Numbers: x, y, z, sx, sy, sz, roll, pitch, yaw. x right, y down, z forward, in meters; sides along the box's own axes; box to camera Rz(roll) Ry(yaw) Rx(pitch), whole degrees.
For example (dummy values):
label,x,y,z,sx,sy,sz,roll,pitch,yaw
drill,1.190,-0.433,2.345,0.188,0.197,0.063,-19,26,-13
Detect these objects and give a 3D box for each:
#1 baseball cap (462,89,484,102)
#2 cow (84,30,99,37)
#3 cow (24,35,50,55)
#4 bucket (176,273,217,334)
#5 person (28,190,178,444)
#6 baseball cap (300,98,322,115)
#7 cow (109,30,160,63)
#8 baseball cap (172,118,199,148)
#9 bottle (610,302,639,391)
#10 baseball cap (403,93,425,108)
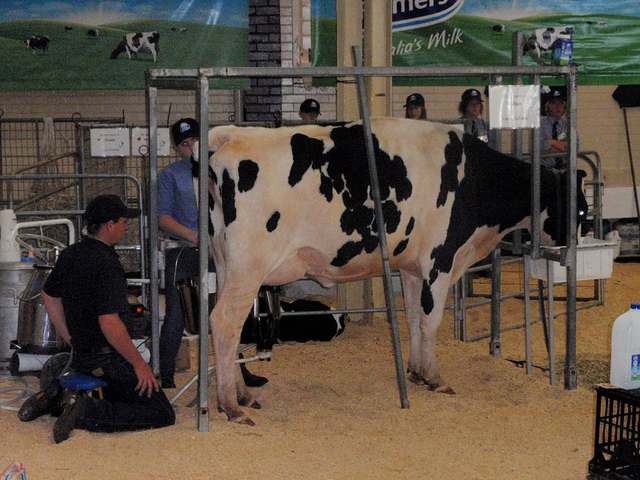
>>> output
label,x,y,z,sx,sy,sz,roll,pitch,yaw
baseball cap,2.245,-2.114,15.556,0.230,0.140,0.174,-2,6,29
cow,-4.015,-3.613,18.582,0.241,0.144,0.090,6,15,5
cow,-4.923,-3.389,18.499,0.466,0.391,0.226,2,11,-3
bucket,-1.393,0.732,11.940,0.434,0.778,0.430,4,16,-1
person,-2.393,0.781,11.299,1.347,2.492,0.934,-3,6,-17
baseball cap,-0.141,-1.953,15.535,0.264,0.187,0.237,-2,6,-4
cow,-3.296,-3.367,18.691,0.903,0.567,0.328,-4,6,3
baseball cap,-1.545,-1.282,12.324,0.371,0.308,0.498,-17,7,-11
bottle,2.803,0.968,9.664,0.246,0.733,0.266,-1,6,0
baseball cap,1.459,-2.064,15.602,0.195,0.160,0.283,-2,-2,45
